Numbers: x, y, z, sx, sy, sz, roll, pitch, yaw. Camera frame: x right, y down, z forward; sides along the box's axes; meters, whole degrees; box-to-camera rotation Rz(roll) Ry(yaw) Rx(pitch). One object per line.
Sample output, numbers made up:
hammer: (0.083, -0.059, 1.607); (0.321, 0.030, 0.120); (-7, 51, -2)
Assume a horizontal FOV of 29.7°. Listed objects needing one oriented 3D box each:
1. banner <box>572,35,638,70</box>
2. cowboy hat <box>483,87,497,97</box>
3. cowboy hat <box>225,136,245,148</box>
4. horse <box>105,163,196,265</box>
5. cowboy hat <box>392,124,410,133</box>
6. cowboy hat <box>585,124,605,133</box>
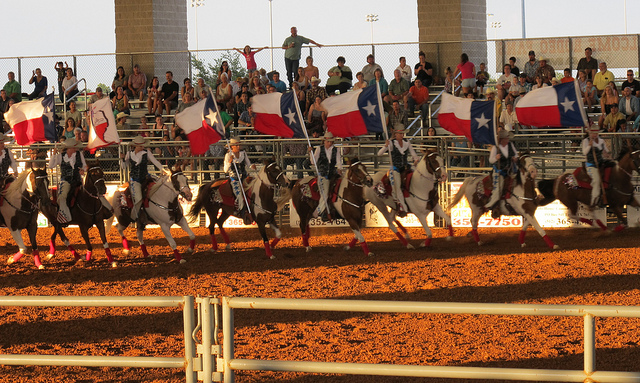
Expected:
banner: (12.197, -5.875, 50.905); (2.672, 1.369, 0.499); (-2, 8, 8)
cowboy hat: (7.033, -4.115, 49.349); (0.419, 0.195, 0.496); (-6, -4, 13)
cowboy hat: (-3.140, -1.821, 44.157); (0.566, 0.232, 0.631); (-7, -3, 3)
horse: (-5.842, 0.766, 42.748); (3.516, 3.239, 1.649); (2, 10, 31)
cowboy hat: (3.075, -2.402, 45.493); (0.541, 0.236, 0.601); (-9, 3, -38)
cowboy hat: (9.944, -2.244, 43.097); (0.509, 0.169, 0.504); (3, 0, 29)
